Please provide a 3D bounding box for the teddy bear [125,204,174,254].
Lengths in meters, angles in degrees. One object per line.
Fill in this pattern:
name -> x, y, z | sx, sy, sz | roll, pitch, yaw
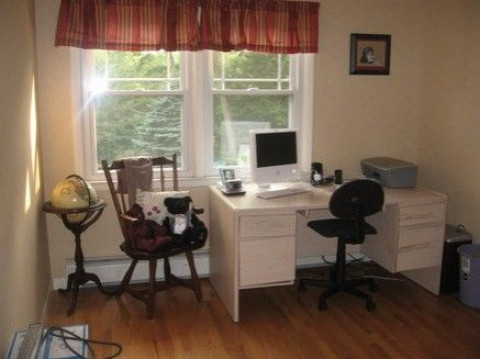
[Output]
teddy bear -> -0.689, 0.352, 3.330 | 0.353, 0.384, 0.254 | -3, 7, -25

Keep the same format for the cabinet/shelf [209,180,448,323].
cabinet/shelf -> 0.715, 0.590, 3.489 | 1.815, 0.946, 0.739 | -1, 5, -18

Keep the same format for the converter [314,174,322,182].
converter -> 0.688, -0.008, 3.804 | 0.048, 0.071, 0.066 | -3, 4, -31

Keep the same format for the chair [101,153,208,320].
chair -> -0.677, 0.423, 3.512 | 0.714, 1.244, 0.699 | -5, 14, -19

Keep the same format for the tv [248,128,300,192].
tv -> 0.295, -0.176, 3.684 | 0.488, 0.526, 0.194 | -4, 4, -27

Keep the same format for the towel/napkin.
towel/napkin -> -0.869, 0.034, 3.606 | 0.314, 0.526, 0.104 | -20, 44, -34

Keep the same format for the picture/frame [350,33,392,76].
picture/frame -> 1.225, -1.179, 4.015 | 0.400, 0.374, 0.029 | -2, 9, -11

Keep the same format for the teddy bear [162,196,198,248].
teddy bear -> -0.461, 0.287, 3.452 | 0.228, 0.420, 0.209 | -6, 28, -1

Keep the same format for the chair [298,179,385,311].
chair -> 0.865, 0.475, 3.560 | 0.629, 1.079, 0.663 | -3, 10, -14

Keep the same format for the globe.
globe -> -1.319, 0.493, 3.489 | 0.477, 1.082, 0.456 | -6, 12, -19
